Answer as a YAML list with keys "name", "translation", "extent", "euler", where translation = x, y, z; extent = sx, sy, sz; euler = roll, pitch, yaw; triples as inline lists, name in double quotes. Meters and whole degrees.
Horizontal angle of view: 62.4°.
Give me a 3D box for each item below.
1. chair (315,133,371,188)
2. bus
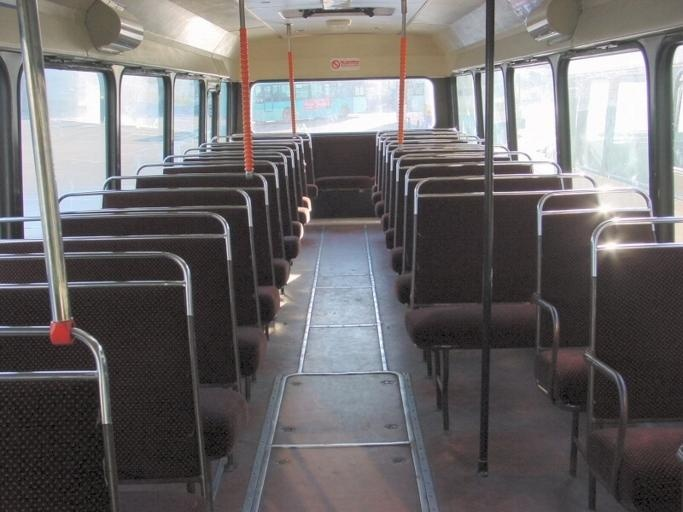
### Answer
- name: "chair"
  translation: [0.043, -1.769, 10.689]
  extent: [1.236, 1.001, 0.618]
  euler: [0, -2, -1]
- name: "bus"
  translation: [-0.639, -3.183, 11.650]
  extent: [4.935, 1.231, 1.271]
  euler: [-2, 9, -3]
